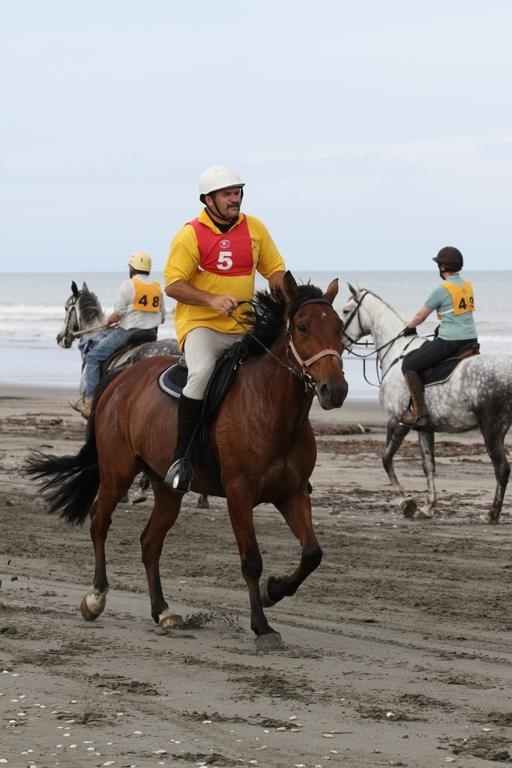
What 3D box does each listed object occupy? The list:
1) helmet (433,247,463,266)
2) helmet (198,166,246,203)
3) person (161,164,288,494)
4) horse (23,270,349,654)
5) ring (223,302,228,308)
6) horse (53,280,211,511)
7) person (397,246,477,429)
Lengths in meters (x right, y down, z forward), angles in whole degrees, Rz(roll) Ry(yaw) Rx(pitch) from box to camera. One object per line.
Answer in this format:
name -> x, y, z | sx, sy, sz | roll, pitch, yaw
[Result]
helmet -> 2.327, -1.550, 10.202 | 0.297, 0.275, 0.314 | 1, -3, 9
helmet -> -0.208, -1.248, 4.992 | 0.244, 0.191, 0.556 | 2, -3, -4
person -> -0.139, -0.355, 5.374 | 0.946, 2.046, 0.968 | -7, 9, -35
horse -> -0.565, 0.590, 5.852 | 0.753, 2.267, 3.737 | 7, -8, -37
ring -> -0.174, -0.452, 4.819 | 0.030, 0.025, 0.009 | -4, -13, 10
horse -> -1.823, -0.059, 12.485 | 3.449, 2.618, 1.009 | 14, 15, 40
person -> 2.253, -0.559, 10.388 | 0.918, 2.238, 1.214 | 1, -3, 14
